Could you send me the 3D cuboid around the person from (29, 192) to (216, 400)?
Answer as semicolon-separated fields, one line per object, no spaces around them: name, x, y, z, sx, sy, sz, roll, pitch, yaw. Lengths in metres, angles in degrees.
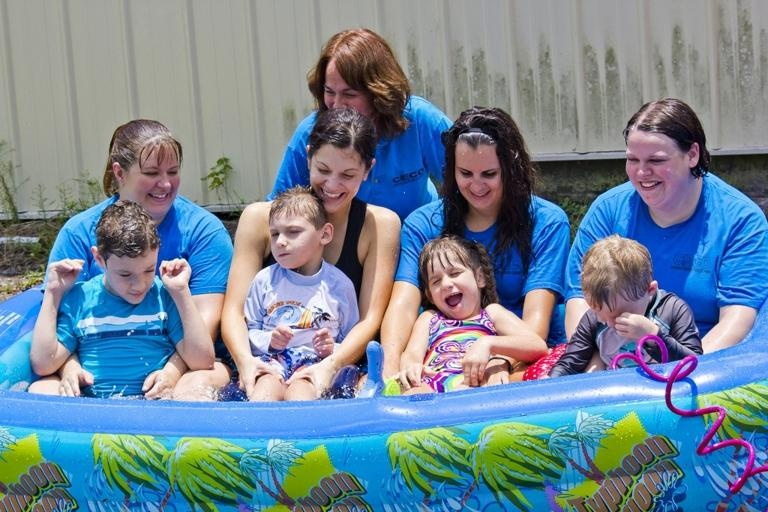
person;-1.322;0.220;4.234;0.888;0.958;0.352;-6;8;-14

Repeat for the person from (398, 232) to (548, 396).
person;0.407;0.265;4.252;0.713;0.670;0.579;-4;8;-1

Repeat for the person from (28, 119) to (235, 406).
person;-1.256;0.089;4.390;1.063;1.520;1.108;9;12;37

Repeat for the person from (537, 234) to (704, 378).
person;1.073;0.297;4.071;0.710;0.791;0.553;-6;13;10

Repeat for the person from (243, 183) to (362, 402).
person;-0.446;0.278;4.172;0.537;1.175;0.939;2;15;4
